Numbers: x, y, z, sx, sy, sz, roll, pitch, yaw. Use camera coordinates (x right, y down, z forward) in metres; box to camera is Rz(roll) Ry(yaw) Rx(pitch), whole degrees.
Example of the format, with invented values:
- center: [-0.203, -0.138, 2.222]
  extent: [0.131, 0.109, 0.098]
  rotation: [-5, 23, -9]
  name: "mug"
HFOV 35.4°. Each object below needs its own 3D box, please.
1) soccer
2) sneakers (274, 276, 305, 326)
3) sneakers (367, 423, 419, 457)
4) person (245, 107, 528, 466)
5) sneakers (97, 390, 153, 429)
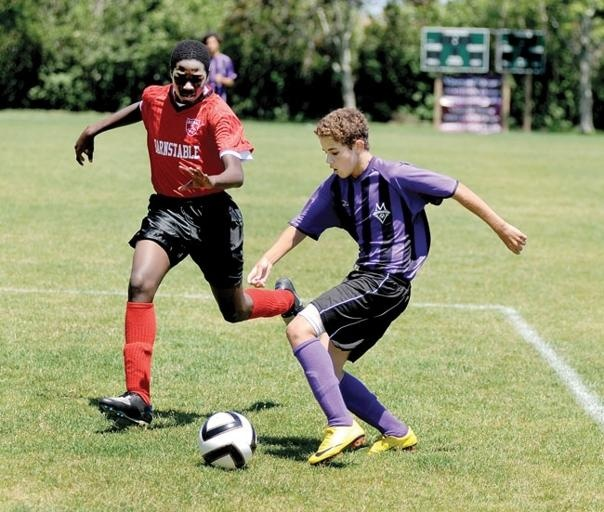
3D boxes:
- center: [-0.426, 0.995, 5.306]
  extent: [0.276, 0.277, 0.279]
  rotation: [-19, 10, -12]
  name: "soccer"
- center: [-0.101, 0.304, 6.599]
  extent: [0.138, 0.153, 0.385]
  rotation: [-35, 38, 17]
  name: "sneakers"
- center: [0.536, 1.073, 5.511]
  extent: [0.312, 0.128, 0.112]
  rotation: [-5, 6, -9]
  name: "sneakers"
- center: [0.329, 0.111, 5.492]
  extent: [1.055, 1.907, 0.845]
  rotation: [-7, 17, -34]
  name: "person"
- center: [-1.032, 0.881, 5.582]
  extent: [0.359, 0.177, 0.129]
  rotation: [27, -32, -35]
  name: "sneakers"
